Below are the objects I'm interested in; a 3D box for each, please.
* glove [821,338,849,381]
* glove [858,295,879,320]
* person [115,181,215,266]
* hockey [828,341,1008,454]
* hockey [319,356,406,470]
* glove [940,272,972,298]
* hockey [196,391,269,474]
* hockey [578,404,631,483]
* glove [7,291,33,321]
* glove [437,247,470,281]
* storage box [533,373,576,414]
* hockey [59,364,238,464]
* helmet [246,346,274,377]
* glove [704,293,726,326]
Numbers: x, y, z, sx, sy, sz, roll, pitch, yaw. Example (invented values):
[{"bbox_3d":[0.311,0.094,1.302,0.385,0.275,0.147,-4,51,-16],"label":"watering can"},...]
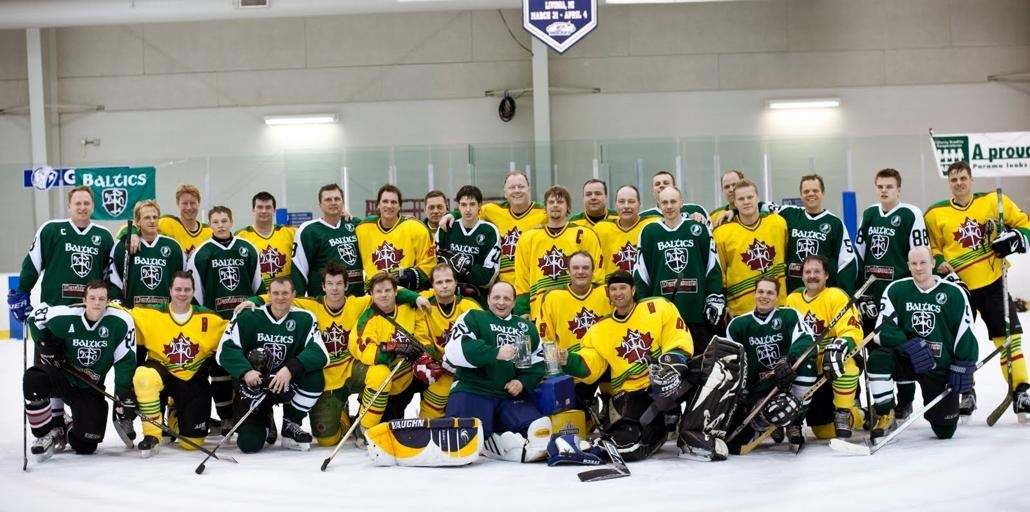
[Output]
[{"bbox_3d":[4.622,1.477,16.236,0.383,0.603,0.210,1,-25,44],"label":"glove"},{"bbox_3d":[5.390,0.796,17.156,0.342,0.425,0.195,6,-14,-7],"label":"glove"},{"bbox_3d":[-5.677,-0.523,18.466,1.663,1.372,0.464,-2,14,-24],"label":"person"},{"bbox_3d":[5.822,2.116,16.474,3.446,0.562,0.274,-23,10,-12],"label":"hockey"},{"bbox_3d":[-2.251,2.320,16.462,0.233,2.017,0.152,11,-39,40],"label":"hockey"},{"bbox_3d":[6.690,0.445,17.080,0.407,0.339,1.126,-4,-2,21],"label":"glove"},{"bbox_3d":[-4.092,2.566,16.284,0.520,1.559,0.111,34,-36,3],"label":"hockey"},{"bbox_3d":[1.224,2.739,15.990,0.596,0.255,0.937,-11,22,-13],"label":"hockey"},{"bbox_3d":[-7.358,0.744,16.718,0.380,0.445,0.181,-1,-1,3],"label":"glove"},{"bbox_3d":[-0.975,0.088,17.507,0.505,0.388,0.213,19,10,15],"label":"glove"},{"bbox_3d":[0.526,2.040,16.450,0.942,0.481,0.920,-1,6,8],"label":"storage box"},{"bbox_3d":[-5.432,2.342,16.509,2.165,0.200,0.257,33,23,9],"label":"hockey"},{"bbox_3d":[-3.717,1.545,16.479,0.338,0.400,0.386,-7,3,2],"label":"helmet"},{"bbox_3d":[3.043,0.830,17.018,0.345,0.441,0.175,5,-6,11],"label":"glove"}]
